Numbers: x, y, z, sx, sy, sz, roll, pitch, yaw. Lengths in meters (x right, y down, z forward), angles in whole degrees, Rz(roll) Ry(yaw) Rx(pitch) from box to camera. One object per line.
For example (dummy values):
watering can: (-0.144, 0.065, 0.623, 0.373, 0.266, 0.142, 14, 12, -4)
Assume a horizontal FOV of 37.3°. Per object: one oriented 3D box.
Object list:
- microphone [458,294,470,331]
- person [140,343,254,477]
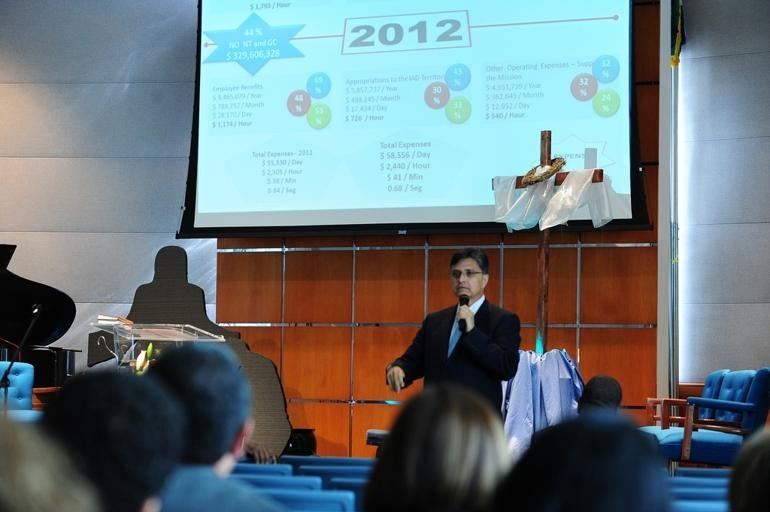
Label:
microphone: (0.585, 0.426, 8.588, 0.072, 0.285, 0.153, 1, -4, 3)
person: (-1.075, 0.953, 6.918, 0.579, 0.715, 0.747, 2, -20, -5)
